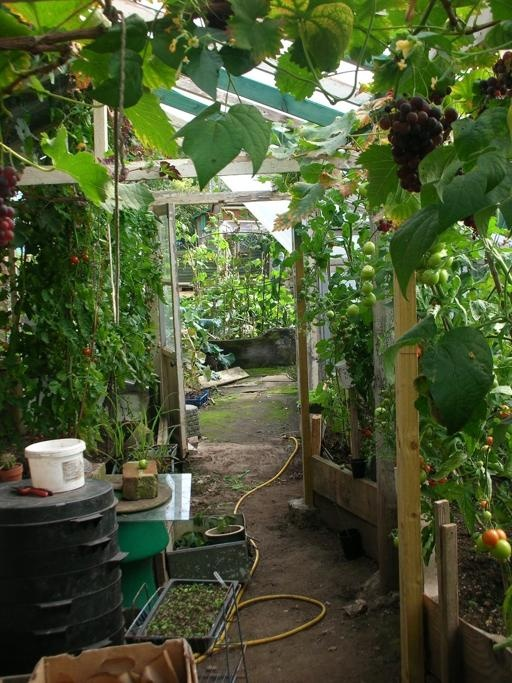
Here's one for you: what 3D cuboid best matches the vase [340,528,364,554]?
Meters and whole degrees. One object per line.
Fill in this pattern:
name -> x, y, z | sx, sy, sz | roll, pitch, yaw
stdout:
vase -> 0.577, 1.211, 3.138 | 0.096, 0.124, 0.151 | -6, 4, 33

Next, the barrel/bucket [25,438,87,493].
barrel/bucket -> -0.626, 0.387, 1.641 | 0.236, 0.161, 0.173 | -1, 2, 20

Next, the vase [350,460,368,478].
vase -> 0.614, 0.743, 3.115 | 0.107, 0.084, 0.099 | 1, 4, 12
